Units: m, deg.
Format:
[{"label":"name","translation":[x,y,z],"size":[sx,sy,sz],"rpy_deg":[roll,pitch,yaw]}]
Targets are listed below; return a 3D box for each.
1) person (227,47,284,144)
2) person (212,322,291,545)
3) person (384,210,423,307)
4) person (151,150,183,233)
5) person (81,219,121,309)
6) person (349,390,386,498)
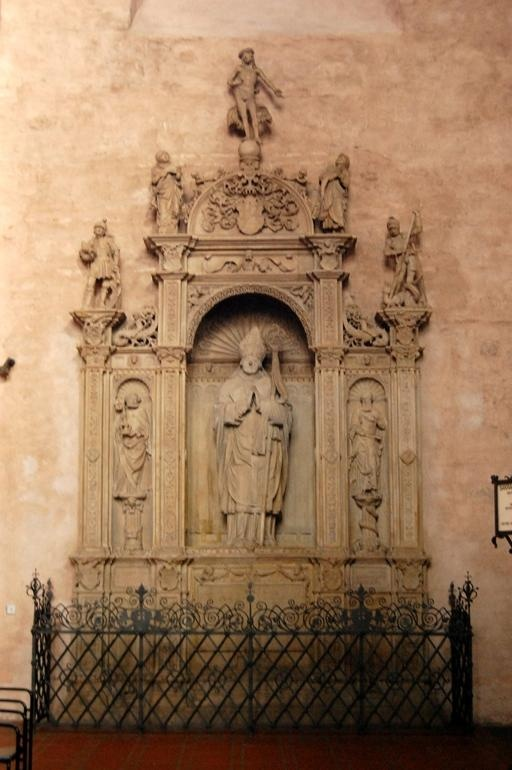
[{"label":"person","translation":[-0.019,-2.961,16.656],"size":[0.549,0.998,0.306],"rpy_deg":[1,-9,-2]},{"label":"person","translation":[-0.038,0.541,16.360],"size":[0.775,2.217,0.339],"rpy_deg":[1,-9,-2]},{"label":"person","translation":[1.498,-1.246,16.371],"size":[0.408,0.959,0.248],"rpy_deg":[1,-9,3]},{"label":"person","translation":[-0.902,-1.902,16.405],"size":[0.322,0.849,0.263],"rpy_deg":[2,-9,-4]},{"label":"person","translation":[-1.568,-1.198,16.362],"size":[0.425,0.946,0.318],"rpy_deg":[2,-9,-4]},{"label":"person","translation":[1.122,0.599,16.143],"size":[0.323,1.169,0.220],"rpy_deg":[-1,-30,3]}]
